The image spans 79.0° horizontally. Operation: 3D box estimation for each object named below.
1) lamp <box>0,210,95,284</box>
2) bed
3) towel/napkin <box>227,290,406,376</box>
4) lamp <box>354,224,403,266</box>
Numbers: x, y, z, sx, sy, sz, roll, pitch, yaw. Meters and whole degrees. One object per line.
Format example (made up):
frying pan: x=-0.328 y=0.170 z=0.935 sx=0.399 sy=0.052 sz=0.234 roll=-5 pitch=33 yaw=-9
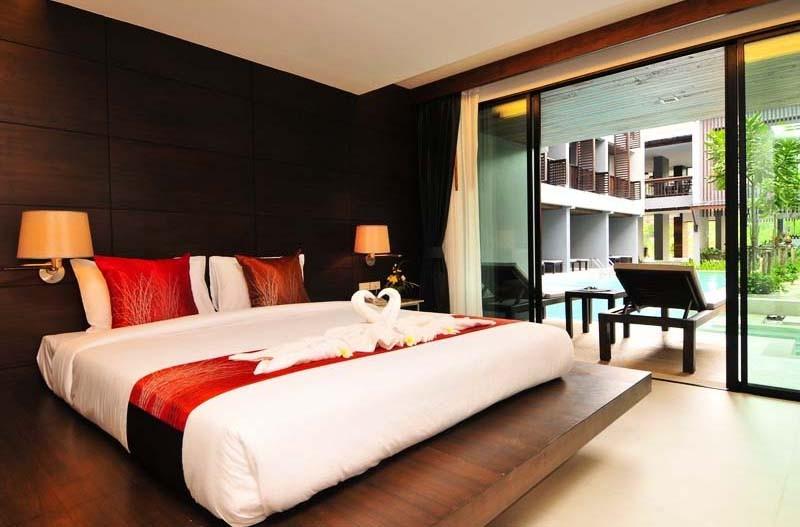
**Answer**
lamp: x=-2.784 y=-0.133 z=3.938 sx=0.521 sy=0.555 sz=0.519 roll=4 pitch=4 yaw=34
bed: x=-0.871 y=0.800 z=3.050 sx=1.677 sy=0.307 sz=1.826 roll=-3 pitch=-1 yaw=45
towel/napkin: x=-0.455 y=0.404 z=3.202 sx=0.999 sy=0.371 sz=0.468 roll=0 pitch=4 yaw=-36
lamp: x=-0.217 y=-0.213 z=5.704 sx=0.727 sy=0.479 sz=0.457 roll=0 pitch=2 yaw=42
